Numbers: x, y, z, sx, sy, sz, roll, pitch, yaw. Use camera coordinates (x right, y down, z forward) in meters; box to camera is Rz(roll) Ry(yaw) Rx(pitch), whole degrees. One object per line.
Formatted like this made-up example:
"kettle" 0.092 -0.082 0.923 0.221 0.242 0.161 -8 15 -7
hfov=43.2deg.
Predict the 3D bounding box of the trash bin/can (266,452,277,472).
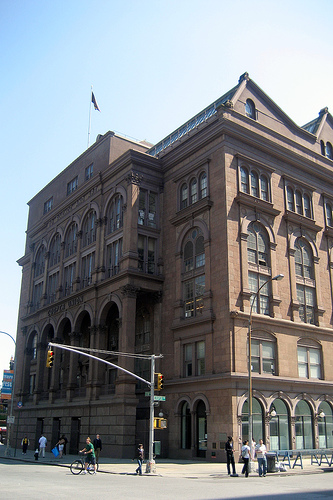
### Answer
"trash bin/can" 5.274 10.767 21.270 0.476 0.850 0.742 -5 -22 12

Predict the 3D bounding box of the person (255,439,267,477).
"person" 4.489 9.903 20.087 0.486 1.562 1.810 -4 -23 11
